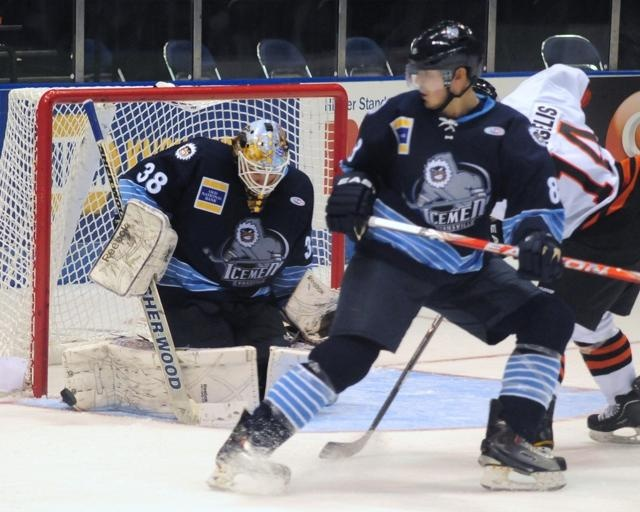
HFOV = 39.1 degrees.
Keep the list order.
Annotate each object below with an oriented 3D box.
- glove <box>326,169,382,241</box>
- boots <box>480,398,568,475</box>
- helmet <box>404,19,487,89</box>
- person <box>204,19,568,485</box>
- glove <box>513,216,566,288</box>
[{"bbox_3d":[0.099,-0.183,2.998,0.193,0.204,0.107,0,-3,0],"label":"glove"},{"bbox_3d":[0.731,0.636,3.195,0.276,0.159,0.092,-22,14,-41],"label":"boots"},{"bbox_3d":[0.384,-0.707,3.098,0.297,0.185,0.205,0,7,-15],"label":"helmet"},{"bbox_3d":[0.328,-0.014,2.969,1.070,1.549,0.528,4,11,-5],"label":"person"},{"bbox_3d":[0.702,-0.018,2.947,0.195,0.191,0.103,-3,-7,-14],"label":"glove"}]
